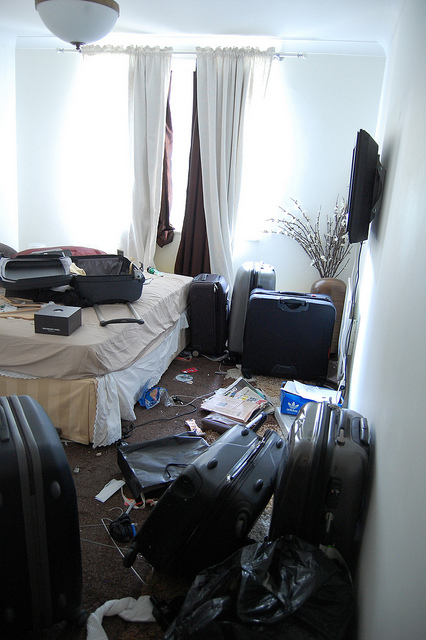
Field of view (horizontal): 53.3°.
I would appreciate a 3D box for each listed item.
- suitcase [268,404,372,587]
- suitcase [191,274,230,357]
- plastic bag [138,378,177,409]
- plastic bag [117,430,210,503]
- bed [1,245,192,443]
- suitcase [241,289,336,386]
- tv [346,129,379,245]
[{"bbox_3d":[0.299,0.486,1.154,0.220,0.464,0.269,11,19,11],"label":"suitcase"},{"bbox_3d":[-0.031,-0.021,3.394,0.311,0.624,0.274,5,14,-1],"label":"suitcase"},{"bbox_3d":[-0.340,0.464,2.596,0.178,0.078,0.157,13,37,-13],"label":"plastic bag"},{"bbox_3d":[-0.203,0.669,1.910,0.458,0.122,0.477,5,11,41],"label":"plastic bag"},{"bbox_3d":[-0.766,0.077,2.838,0.996,0.631,1.664,10,16,14],"label":"bed"},{"bbox_3d":[0.510,0.141,2.912,0.474,0.609,0.195,6,18,4],"label":"suitcase"},{"bbox_3d":[0.680,-0.587,1.941,0.127,0.473,0.391,9,15,18],"label":"tv"}]
